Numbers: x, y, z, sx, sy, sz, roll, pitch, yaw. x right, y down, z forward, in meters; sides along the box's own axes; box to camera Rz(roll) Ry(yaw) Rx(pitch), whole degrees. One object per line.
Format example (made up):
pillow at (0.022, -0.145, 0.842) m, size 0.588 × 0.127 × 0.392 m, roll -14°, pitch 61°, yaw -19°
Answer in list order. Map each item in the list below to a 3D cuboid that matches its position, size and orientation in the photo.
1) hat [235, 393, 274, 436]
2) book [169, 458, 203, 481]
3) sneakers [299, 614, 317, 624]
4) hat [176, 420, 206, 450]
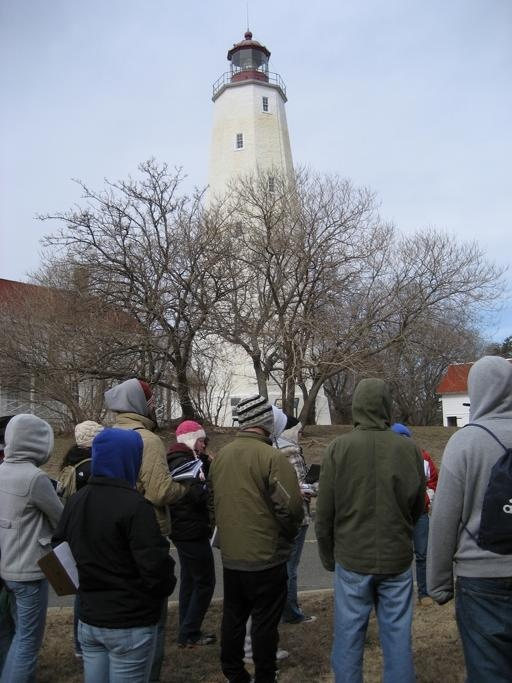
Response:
hat at (-0.025, 0.484, 4.608) m, size 0.289 × 0.252 × 0.210 m, roll -11°, pitch 7°, yaw -22°
book at (-0.495, 0.885, 4.660) m, size 0.190 × 0.062 × 0.185 m, roll -11°, pitch -2°, yaw -33°
sneakers at (0.449, 2.357, 5.825) m, size 0.151 × 0.059 × 0.050 m, roll -1°, pitch 1°, yaw -20°
hat at (-0.533, 0.752, 5.631) m, size 0.269 × 0.222 × 0.222 m, roll 2°, pitch -11°, yaw -13°
